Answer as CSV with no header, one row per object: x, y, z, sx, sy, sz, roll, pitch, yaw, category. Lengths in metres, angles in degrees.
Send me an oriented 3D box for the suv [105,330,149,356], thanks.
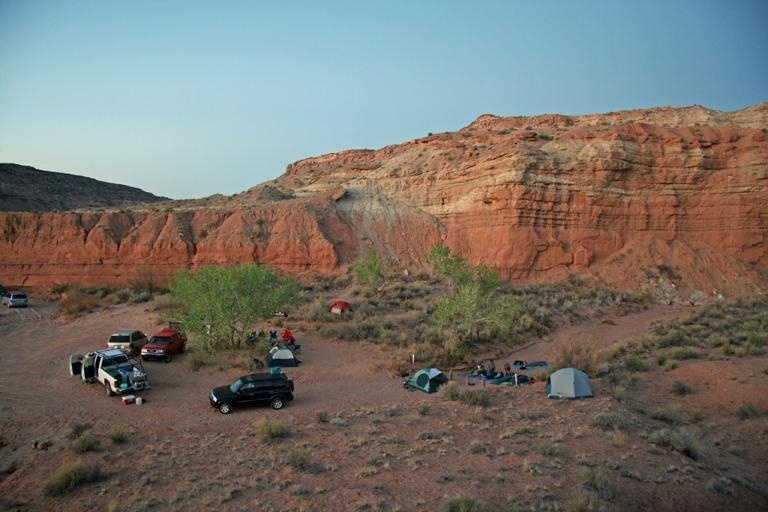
-19.236,6.741,54.945,1.609,1.479,2.862,-2,17,-12,suv

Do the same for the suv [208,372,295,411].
-8.922,9.212,49.706,5.088,2.219,2.457,2,8,-11,suv

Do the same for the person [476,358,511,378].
7.780,8.164,52.433,1.852,0.751,1.451,0,0,27,person

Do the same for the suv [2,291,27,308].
-34.283,4.058,67.869,2.641,1.497,1.346,-3,-2,24,suv

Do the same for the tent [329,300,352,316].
-3.783,4.503,63.144,2.011,1.128,1.566,-1,-2,-8,tent
